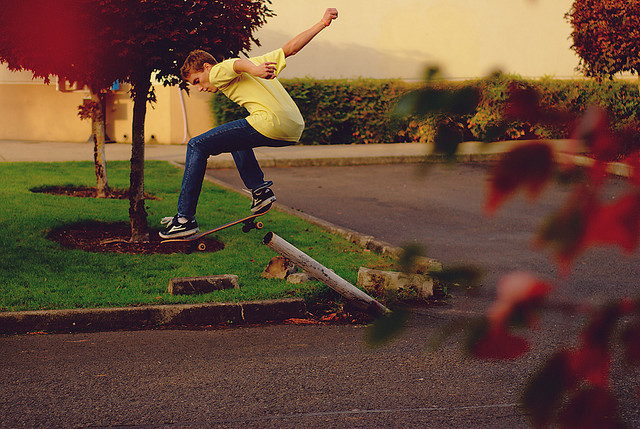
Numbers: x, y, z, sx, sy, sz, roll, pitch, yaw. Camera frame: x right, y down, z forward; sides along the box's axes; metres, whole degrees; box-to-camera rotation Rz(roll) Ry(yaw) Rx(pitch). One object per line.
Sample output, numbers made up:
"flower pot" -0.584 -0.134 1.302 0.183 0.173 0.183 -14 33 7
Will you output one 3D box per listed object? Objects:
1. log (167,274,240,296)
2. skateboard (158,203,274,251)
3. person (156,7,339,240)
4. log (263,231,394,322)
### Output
"log" -1.048 0.623 6.581 0.644 0.134 0.229 -4 15 -28
"skateboard" -1.151 0.146 8.088 0.821 0.138 0.232 -23 7 -6
"person" -0.712 -0.647 6.231 1.117 1.998 1.514 0 12 -16
"log" 0.031 0.551 6.330 1.219 0.170 0.165 35 -25 1
